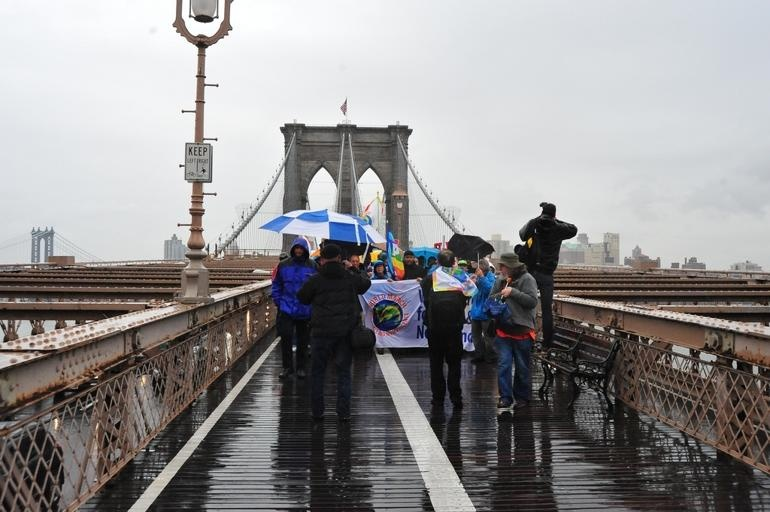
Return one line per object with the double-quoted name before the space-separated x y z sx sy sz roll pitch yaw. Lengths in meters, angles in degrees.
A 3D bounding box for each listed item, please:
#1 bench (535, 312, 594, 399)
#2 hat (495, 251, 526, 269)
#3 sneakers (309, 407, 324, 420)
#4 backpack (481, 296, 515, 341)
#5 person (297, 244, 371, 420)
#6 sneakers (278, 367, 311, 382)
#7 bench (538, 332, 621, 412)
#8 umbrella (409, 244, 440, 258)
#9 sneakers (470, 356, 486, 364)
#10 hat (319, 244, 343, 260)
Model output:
"bench" 2.641 1.545 11.256 0.666 0.976 1.914 3 3 -12
"hat" 1.672 0.060 10.445 0.257 0.099 0.247 9 9 37
"sneakers" -0.906 2.071 10.127 0.158 0.193 0.292 -1 6 -6
"backpack" 1.521 0.816 10.506 0.375 0.597 0.605 -1 6 -14
"person" -0.681 0.984 10.206 0.877 2.304 0.661 0 5 -3
"sneakers" -1.497 1.965 12.536 0.517 0.227 0.197 -2 1 -3
"bench" 2.772 1.929 10.928 0.783 1.094 2.072 2 -2 -4
"umbrella" 1.177 -0.128 22.632 0.631 0.263 0.648 -1 -4 34
"sneakers" 1.687 1.897 13.927 0.231 0.085 0.444 0 6 5
"hat" -0.725 -0.060 10.157 0.236 0.213 0.261 -1 6 -9
